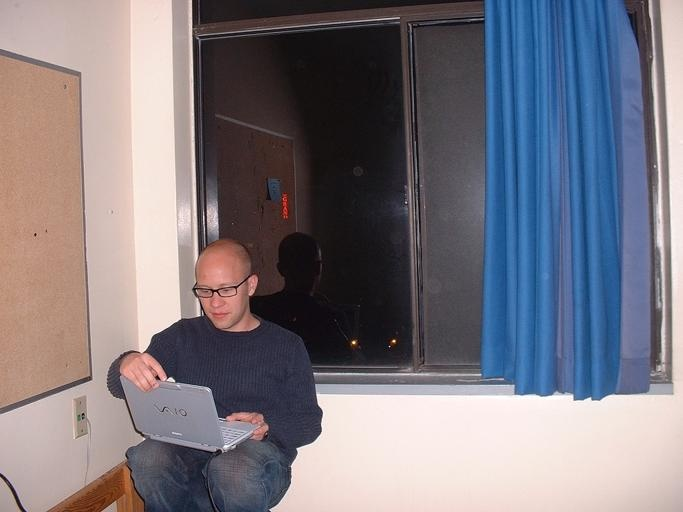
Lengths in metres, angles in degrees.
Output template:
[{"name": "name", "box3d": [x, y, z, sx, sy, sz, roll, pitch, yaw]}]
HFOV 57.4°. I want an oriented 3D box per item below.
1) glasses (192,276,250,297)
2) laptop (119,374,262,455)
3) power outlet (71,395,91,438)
[{"name": "glasses", "box3d": [-0.502, 0.130, 2.649, 0.232, 0.084, 0.103, -2, 3, -3]}, {"name": "laptop", "box3d": [-0.604, 0.618, 2.503, 0.495, 0.307, 0.211, -1, 4, 19]}, {"name": "power outlet", "box3d": [-1.144, 0.707, 2.745, 0.015, 0.177, 0.079, -1, 4, 23]}]
